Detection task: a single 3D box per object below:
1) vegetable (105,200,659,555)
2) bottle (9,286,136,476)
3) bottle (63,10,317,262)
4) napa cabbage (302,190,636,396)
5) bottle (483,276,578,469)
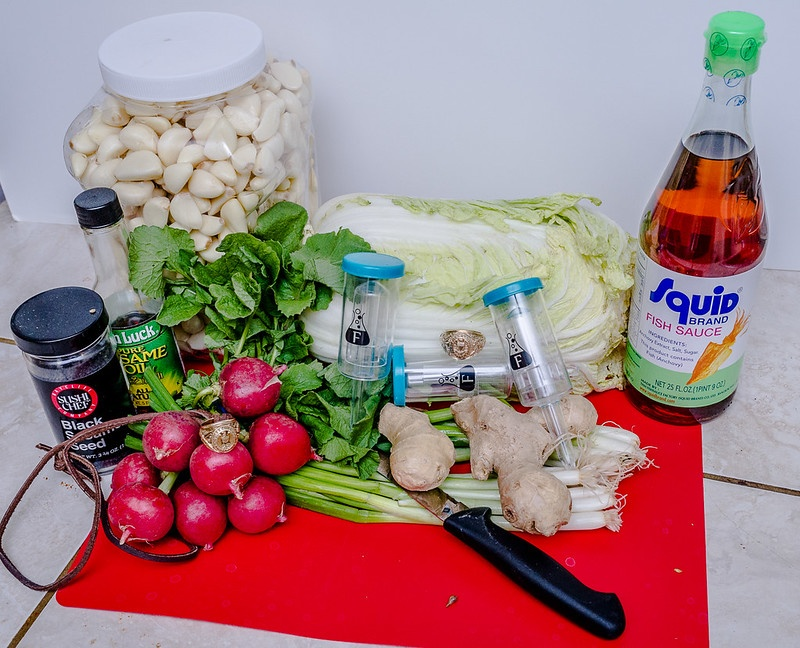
[{"bbox_3d":[-0.046,0.041,1.188,0.713,0.472,0.251,7,36,7],"label":"vegetable"},{"bbox_3d":[-0.528,0.096,1.168,0.123,0.289,0.137,14,37,9],"label":"bottle"},{"bbox_3d":[-0.313,-0.383,1.320,0.310,0.328,0.330,-5,61,-12],"label":"bottle"},{"bbox_3d":[0.149,-0.043,1.348,0.502,0.330,0.318,0,-4,4],"label":"napa cabbage"},{"bbox_3d":[0.185,0.044,1.194,0.100,0.376,0.111,-17,-3,3],"label":"bottle"}]
